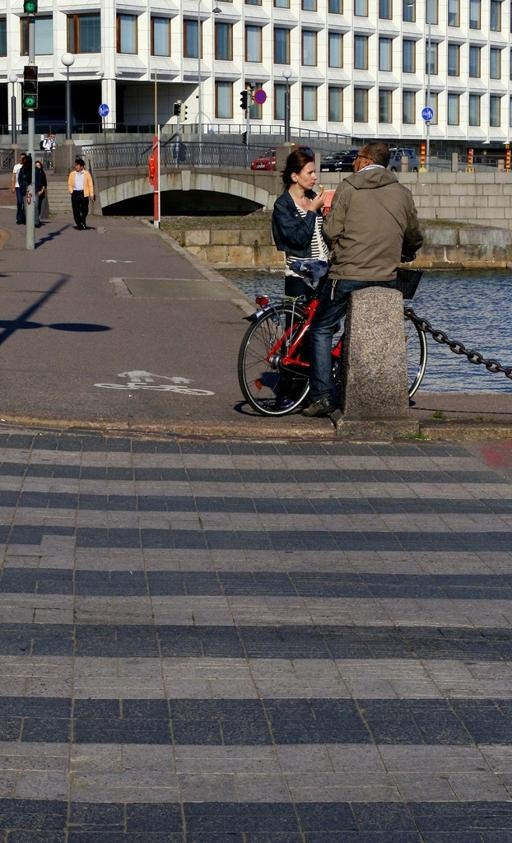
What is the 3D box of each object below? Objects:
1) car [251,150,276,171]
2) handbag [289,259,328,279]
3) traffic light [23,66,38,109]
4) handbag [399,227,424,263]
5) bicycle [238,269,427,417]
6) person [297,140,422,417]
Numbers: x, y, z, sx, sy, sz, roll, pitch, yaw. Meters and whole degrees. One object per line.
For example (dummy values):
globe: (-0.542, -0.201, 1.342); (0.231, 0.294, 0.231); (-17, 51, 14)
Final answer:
car: (0.384, -12.581, 54.791); (0.861, 0.731, 1.556); (1, 11, 11)
handbag: (0.392, -1.039, 7.818); (0.167, 0.085, 0.174); (7, 7, 25)
traffic light: (-4.197, -6.247, 21.284); (0.251, 0.819, 0.713); (0, 9, -15)
handbag: (1.047, -1.196, 7.703); (0.151, 0.249, 0.089); (4, 5, -10)
bicycle: (0.563, -0.596, 8.152); (1.415, 1.032, 0.771); (-3, 13, -14)
person: (0.716, -0.829, 7.720); (0.729, 1.742, 0.506); (3, 8, 5)
